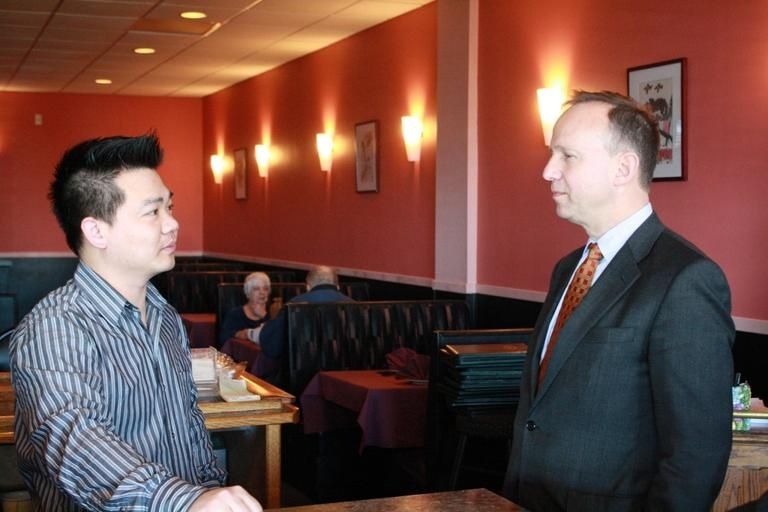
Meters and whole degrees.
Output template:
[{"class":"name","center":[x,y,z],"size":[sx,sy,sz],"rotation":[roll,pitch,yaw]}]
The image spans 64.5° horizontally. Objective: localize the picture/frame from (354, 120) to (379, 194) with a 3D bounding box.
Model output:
[{"class":"picture/frame","center":[-0.158,-1.101,6.734],"size":[0.078,0.756,0.448],"rotation":[-4,5,-34]}]

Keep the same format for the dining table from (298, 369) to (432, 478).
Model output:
[{"class":"dining table","center":[-0.075,0.982,3.899],"size":[0.756,0.334,0.649],"rotation":[2,-9,45]}]

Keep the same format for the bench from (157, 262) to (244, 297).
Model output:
[{"class":"bench","center":[-2.275,0.413,7.773],"size":[1.133,0.470,0.363],"rotation":[0,8,-44]}]

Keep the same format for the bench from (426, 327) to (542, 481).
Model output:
[{"class":"bench","center":[0.478,0.684,3.054],"size":[0.589,0.787,0.606],"rotation":[5,13,14]}]

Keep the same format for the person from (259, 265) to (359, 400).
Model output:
[{"class":"person","center":[-0.612,0.585,5.005],"size":[0.798,1.051,0.975],"rotation":[2,-4,-17]}]

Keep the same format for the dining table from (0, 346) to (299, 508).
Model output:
[{"class":"dining table","center":[-0.828,0.645,2.941],"size":[0.978,0.569,0.952],"rotation":[1,0,-20]}]
